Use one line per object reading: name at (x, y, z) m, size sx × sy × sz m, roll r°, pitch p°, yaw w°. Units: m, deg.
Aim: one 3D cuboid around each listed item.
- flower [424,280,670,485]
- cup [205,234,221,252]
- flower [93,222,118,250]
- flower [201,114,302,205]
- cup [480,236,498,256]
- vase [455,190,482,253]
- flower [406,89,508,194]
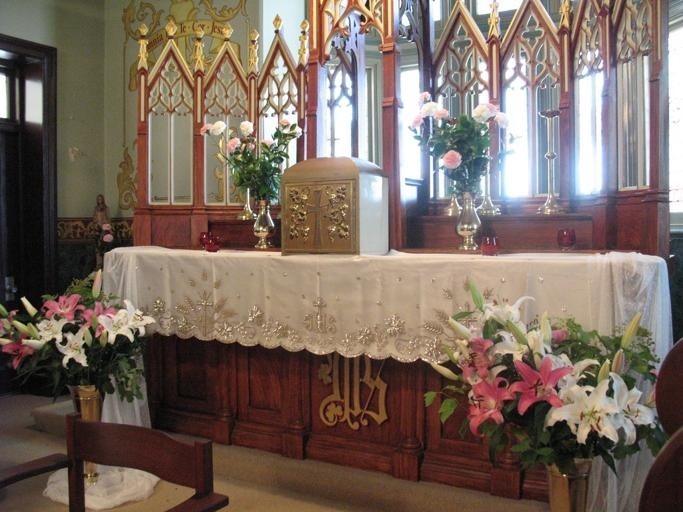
flower at (0.893, 0.505, 3.027) m, size 0.966 × 0.770 × 0.797 m, roll 2°, pitch 3°, yaw 29°
cup at (-0.871, -0.091, 4.668) m, size 0.094 × 0.119 × 0.098 m, roll 0°, pitch 4°, yaw 0°
flower at (-2.476, -0.202, 7.228) m, size 0.187 × 0.316 × 0.068 m, roll -1°, pitch -16°, yaw -7°
flower at (-0.598, -0.657, 5.158) m, size 0.639 × 0.717 × 0.669 m, roll -4°, pitch -2°, yaw 31°
cup at (0.868, -0.061, 4.021) m, size 0.091 × 0.100 × 0.091 m, roll -1°, pitch 3°, yaw 0°
vase at (0.816, -0.221, 4.430) m, size 0.155 × 0.372 × 0.326 m, roll 1°, pitch 2°, yaw 11°
flower at (0.765, -0.697, 4.605) m, size 0.627 × 0.747 × 0.669 m, roll 0°, pitch -1°, yaw -19°
